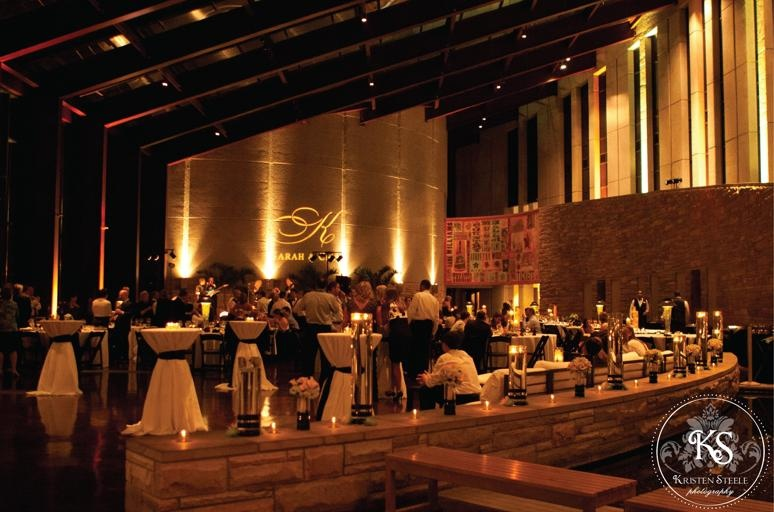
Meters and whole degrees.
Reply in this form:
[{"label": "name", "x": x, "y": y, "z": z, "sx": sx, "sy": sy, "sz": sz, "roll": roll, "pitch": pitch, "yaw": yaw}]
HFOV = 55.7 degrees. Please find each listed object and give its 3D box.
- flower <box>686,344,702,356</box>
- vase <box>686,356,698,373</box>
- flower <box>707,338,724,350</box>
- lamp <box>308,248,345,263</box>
[{"label": "flower", "x": 5.589, "y": 1.717, "z": 13.361, "sx": 0.210, "sy": 0.191, "sz": 0.204, "roll": -3, "pitch": -7, "yaw": 24}, {"label": "vase", "x": 5.626, "y": 1.974, "z": 13.484, "sx": 0.179, "sy": 0.374, "sz": 0.460, "roll": -3, "pitch": -7, "yaw": 22}, {"label": "flower", "x": 6.586, "y": 1.761, "z": 14.697, "sx": 0.328, "sy": 0.152, "sz": 0.332, "roll": 0, "pitch": -5, "yaw": 24}, {"label": "lamp", "x": -2.107, "y": 0.000, "z": 26.101, "sx": 1.441, "sy": 0.531, "sz": 0.708, "roll": 3, "pitch": -7, "yaw": -27}]
